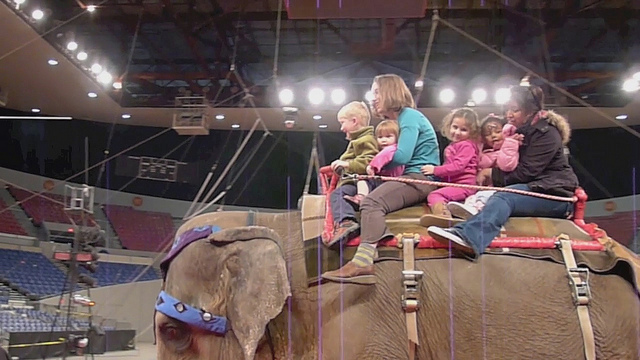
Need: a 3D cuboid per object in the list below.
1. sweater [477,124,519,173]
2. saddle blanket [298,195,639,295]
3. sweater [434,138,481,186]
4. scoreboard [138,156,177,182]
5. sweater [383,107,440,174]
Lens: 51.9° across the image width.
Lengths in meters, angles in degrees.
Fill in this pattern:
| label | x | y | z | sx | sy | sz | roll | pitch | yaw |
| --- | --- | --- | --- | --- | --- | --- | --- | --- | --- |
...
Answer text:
| label | x | y | z | sx | sy | sz | roll | pitch | yaw |
| --- | --- | --- | --- | --- | --- | --- | --- | --- | --- |
| sweater | 3.266 | -0.524 | 11.762 | 0.686 | 0.853 | 0.446 | 24 | 19 | 28 |
| saddle blanket | 2.015 | 1.399 | 11.783 | 3.436 | 1.078 | 2.533 | 0 | -15 | 2 |
| sweater | 2.433 | -0.370 | 11.951 | 0.819 | 0.925 | 0.878 | 4 | 18 | 32 |
| scoreboard | -5.113 | -0.396 | 20.832 | 1.167 | 0.705 | 0.663 | 0 | -12 | -16 |
| sweater | 1.659 | -0.688 | 12.110 | 1.089 | 1.234 | 1.159 | 0 | -9 | 5 |
